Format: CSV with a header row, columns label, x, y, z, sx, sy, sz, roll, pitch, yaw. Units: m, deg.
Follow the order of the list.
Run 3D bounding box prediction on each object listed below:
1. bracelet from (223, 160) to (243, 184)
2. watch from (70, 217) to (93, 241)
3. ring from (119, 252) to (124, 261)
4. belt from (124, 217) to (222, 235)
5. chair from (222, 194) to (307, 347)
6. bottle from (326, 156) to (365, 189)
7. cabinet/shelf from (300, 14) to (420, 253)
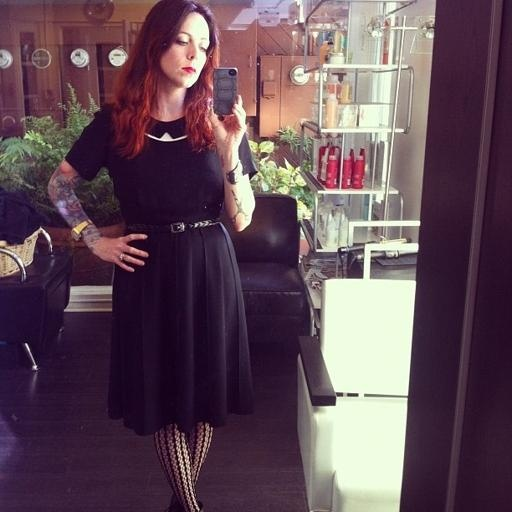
label,x,y,z,sx,sy,sz,roll,pitch,yaw
bracelet,-0.065,-0.243,1.405,0.033,0.067,0.045,30,24,25
watch,-0.554,-0.085,1.506,0.045,0.080,0.036,36,-4,11
ring,-0.391,0.003,1.367,0.014,0.016,0.005,-9,-8,38
belt,-0.244,-0.088,1.390,0.243,0.034,0.065,-3,14,-10
chair,0.094,0.078,3.075,0.594,0.989,0.899,-1,6,-2
bottle,0.515,-0.456,2.725,0.193,0.208,0.189,7,9,41
cabinet/shelf,0.657,-0.769,2.918,0.404,1.373,1.339,0,19,0
